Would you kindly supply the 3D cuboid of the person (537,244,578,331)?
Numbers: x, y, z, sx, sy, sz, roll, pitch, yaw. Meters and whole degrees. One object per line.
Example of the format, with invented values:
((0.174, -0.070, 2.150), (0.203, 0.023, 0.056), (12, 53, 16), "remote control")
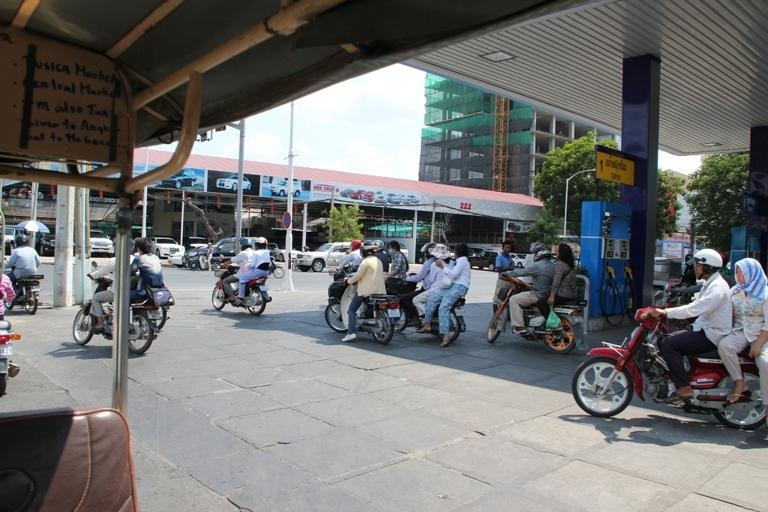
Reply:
((3.314, 0.568, 10.481), (0.531, 1.620, 0.746), (6, 6, 36), "person")

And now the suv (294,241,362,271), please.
((-3.762, 0.032, 34.006), (4.234, 1.621, 1.989), (2, -3, -34), "suv")

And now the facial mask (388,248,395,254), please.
((0.172, -0.080, 12.488), (0.088, 0.130, 0.141), (0, 20, -37), "facial mask")

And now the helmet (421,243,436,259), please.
((0.817, -0.130, 11.369), (0.342, 0.357, 0.386), (-2, -11, 9), "helmet")

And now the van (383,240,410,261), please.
((0.763, -0.288, 26.829), (1.338, 1.011, 2.698), (2, 7, -4), "van")

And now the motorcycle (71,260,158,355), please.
((-4.734, 0.937, 9.786), (2.295, 1.296, 0.903), (0, -9, 29), "motorcycle")

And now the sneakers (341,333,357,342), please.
((-0.700, 1.610, 10.947), (0.123, 0.125, 0.330), (-1, -11, -44), "sneakers")

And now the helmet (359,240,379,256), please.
((-0.345, -0.165, 11.322), (0.347, 0.270, 0.295), (7, 4, 34), "helmet")

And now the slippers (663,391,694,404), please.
((3.487, 1.687, 6.574), (0.366, 0.112, 0.121), (1, -7, 7), "slippers")

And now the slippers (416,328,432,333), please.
((0.786, 1.522, 11.259), (0.345, 0.116, 0.116), (3, -7, 11), "slippers")

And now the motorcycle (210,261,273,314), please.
((-3.714, 0.780, 14.239), (2.162, 1.142, 0.873), (4, 5, 36), "motorcycle")

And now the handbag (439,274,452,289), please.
((1.199, 0.509, 10.826), (0.259, 0.244, 0.138), (-32, 3, 12), "handbag")

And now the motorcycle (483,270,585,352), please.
((2.962, 1.088, 11.033), (1.198, 1.304, 2.645), (3, 0, -31), "motorcycle")

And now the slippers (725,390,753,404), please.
((4.156, 1.656, 6.464), (0.299, 0.181, 0.084), (1, 5, -7), "slippers")

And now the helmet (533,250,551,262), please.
((3.126, -0.025, 10.995), (0.276, 0.231, 0.238), (22, 8, 26), "helmet")

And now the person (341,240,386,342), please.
((-0.408, 0.731, 11.144), (0.814, 1.924, 0.670), (2, 5, -1), "person")

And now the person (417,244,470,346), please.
((1.215, 0.762, 10.926), (0.847, 1.994, 0.487), (2, 5, 1), "person")

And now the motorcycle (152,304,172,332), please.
((-4.275, 1.187, 10.539), (0.211, 0.621, 0.657), (11, -16, -28), "motorcycle")

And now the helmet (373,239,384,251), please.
((-0.102, -0.225, 11.538), (0.208, 0.217, 0.242), (3, 0, -23), "helmet")

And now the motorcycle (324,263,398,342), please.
((-0.429, 0.989, 11.638), (1.126, 1.334, 2.343), (-9, 8, -38), "motorcycle")

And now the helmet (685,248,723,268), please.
((3.925, 0.014, 6.749), (0.316, 0.234, 0.241), (25, 12, 35), "helmet")

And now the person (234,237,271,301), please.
((-3.251, 0.489, 13.669), (0.786, 1.300, 0.325), (1, 5, -11), "person")
